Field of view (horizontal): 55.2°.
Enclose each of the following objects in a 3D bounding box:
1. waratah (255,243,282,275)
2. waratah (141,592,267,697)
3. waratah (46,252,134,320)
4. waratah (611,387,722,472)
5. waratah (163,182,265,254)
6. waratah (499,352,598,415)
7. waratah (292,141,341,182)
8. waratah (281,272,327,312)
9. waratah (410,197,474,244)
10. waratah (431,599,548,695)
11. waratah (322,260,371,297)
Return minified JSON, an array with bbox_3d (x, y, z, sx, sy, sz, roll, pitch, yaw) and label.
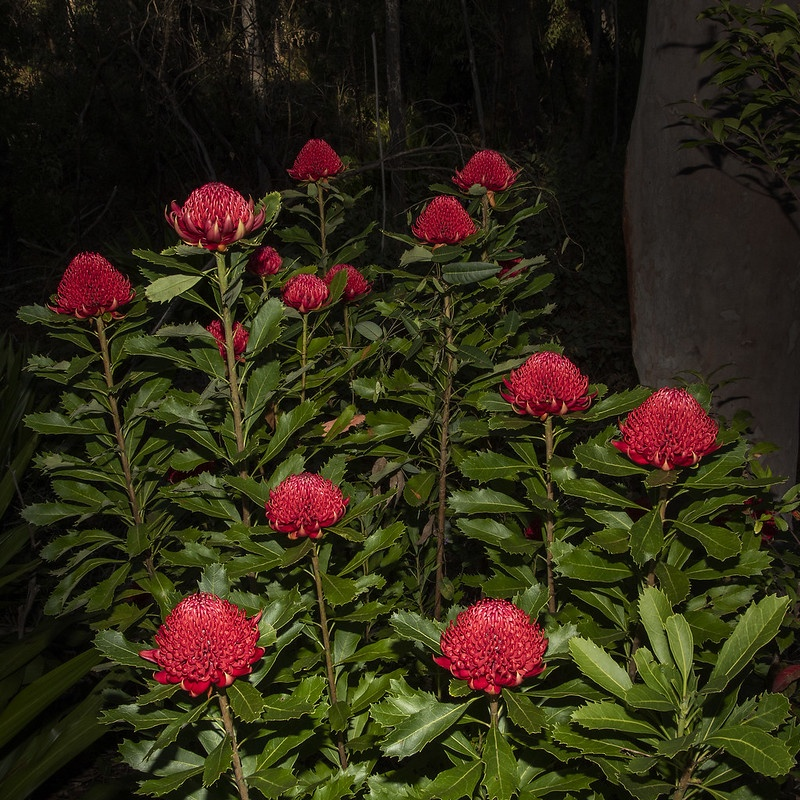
[{"bbox_3d":[-0.421,-0.449,2.422,0.091,0.094,0.093,4,35,-10],"label":"waratah"},{"bbox_3d":[-0.350,0.443,1.496,0.211,0.133,0.215,-34,-25,25],"label":"waratah"},{"bbox_3d":[-0.860,-0.316,2.118,0.218,0.181,0.168,-10,15,-22],"label":"waratah"},{"bbox_3d":[0.555,0.052,1.629,0.194,0.144,0.182,-17,19,-36],"label":"waratah"},{"bbox_3d":[-0.441,-0.425,1.776,0.217,0.172,0.213,1,7,23],"label":"waratah"},{"bbox_3d":[0.359,-0.046,1.850,0.183,0.140,0.176,-11,15,-42],"label":"waratah"},{"bbox_3d":[-0.288,-0.863,2.784,0.171,0.084,0.163,-18,27,-34],"label":"waratah"},{"bbox_3d":[-0.286,-0.323,2.270,0.123,0.112,0.123,8,15,33],"label":"waratah"},{"bbox_3d":[0.130,-0.540,2.301,0.194,0.145,0.170,-4,14,1],"label":"waratah"},{"bbox_3d":[0.176,0.456,1.496,0.196,0.176,0.185,3,15,17],"label":"waratah"},{"bbox_3d":[-0.173,-0.397,2.589,0.141,0.077,0.129,-2,24,-24],"label":"waratah"}]
